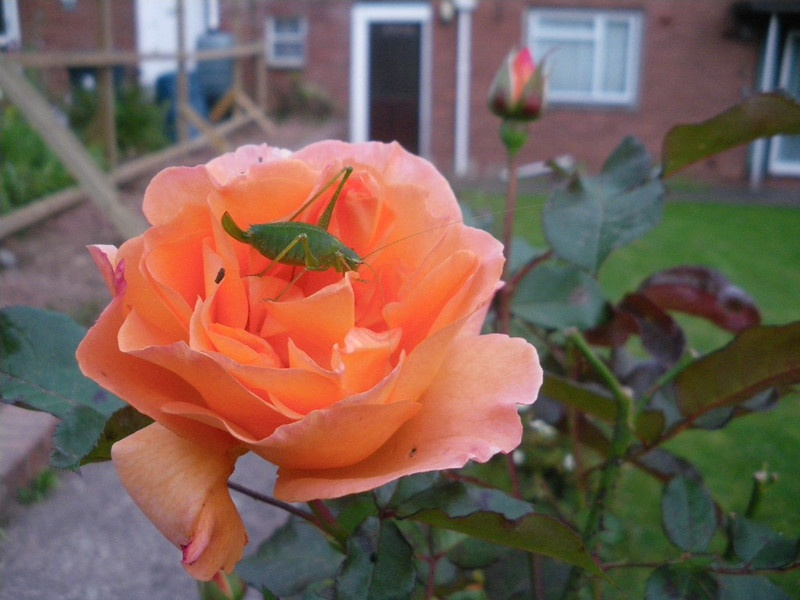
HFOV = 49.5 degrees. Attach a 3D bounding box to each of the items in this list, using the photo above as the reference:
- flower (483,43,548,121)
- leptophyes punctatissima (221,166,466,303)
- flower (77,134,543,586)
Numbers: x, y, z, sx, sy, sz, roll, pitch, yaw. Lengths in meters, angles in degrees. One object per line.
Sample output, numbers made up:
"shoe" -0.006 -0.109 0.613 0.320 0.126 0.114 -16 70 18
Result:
"flower" 0.104 -0.180 0.744 0.047 0.073 0.044 13 -14 -5
"leptophyes punctatissima" -0.052 -0.038 0.595 0.132 0.078 0.067 18 -7 -20
"flower" -0.056 0.050 0.643 0.285 0.287 0.183 2 -23 -10
